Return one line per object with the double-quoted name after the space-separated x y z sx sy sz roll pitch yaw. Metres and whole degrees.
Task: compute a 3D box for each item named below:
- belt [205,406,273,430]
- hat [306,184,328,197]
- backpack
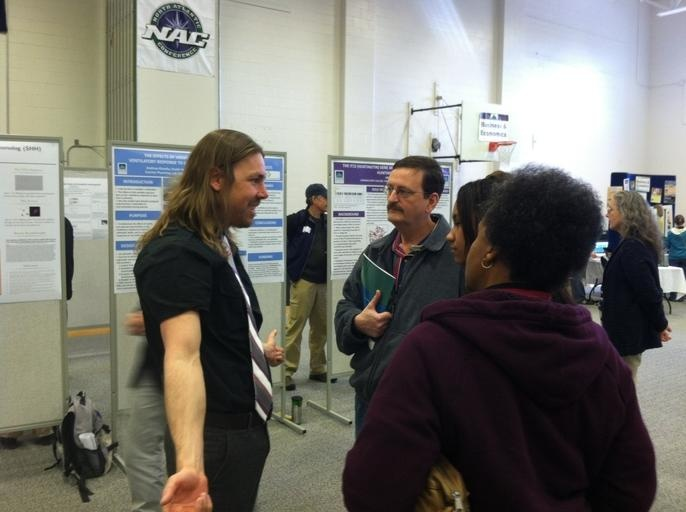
-0.345 0.517 1.737 0.111 0.031 0.126 -1 -7 13 "belt"
-0.247 -0.624 5.104 0.172 0.096 0.122 -11 13 -13 "hat"
-1.628 1.124 3.401 0.328 0.439 0.462 -7 12 -31 "backpack"
